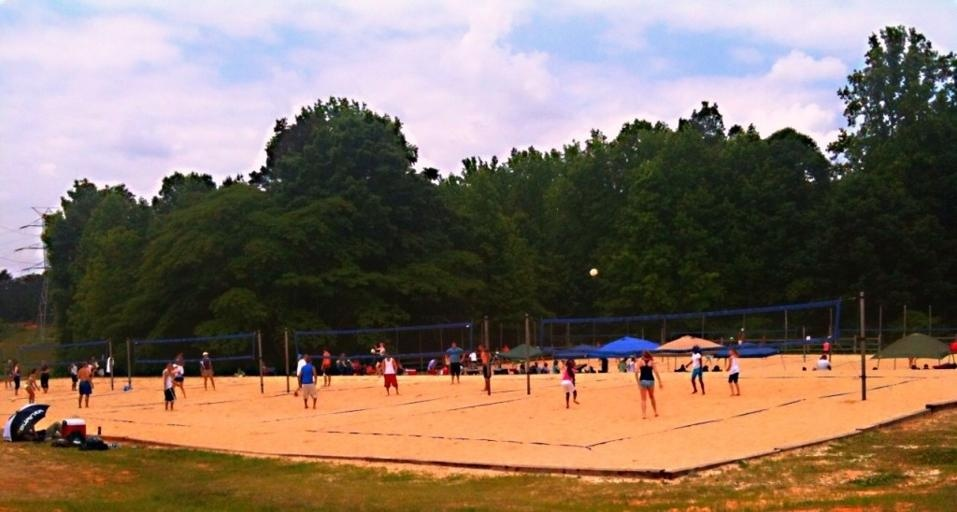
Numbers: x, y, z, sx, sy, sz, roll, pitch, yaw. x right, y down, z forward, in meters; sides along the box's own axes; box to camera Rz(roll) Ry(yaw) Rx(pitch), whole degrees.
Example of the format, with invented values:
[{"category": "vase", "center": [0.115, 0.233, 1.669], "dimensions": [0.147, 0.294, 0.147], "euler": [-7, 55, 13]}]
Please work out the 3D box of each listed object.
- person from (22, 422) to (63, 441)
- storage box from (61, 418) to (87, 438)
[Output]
[{"category": "person", "center": [-25.512, 10.334, 65.151], "dimensions": [1.561, 0.655, 1.323], "euler": [-9, -10, 43]}, {"category": "storage box", "center": [-23.738, 10.025, 65.229], "dimensions": [1.817, 1.540, 0.970], "euler": [1, -4, -7]}]
